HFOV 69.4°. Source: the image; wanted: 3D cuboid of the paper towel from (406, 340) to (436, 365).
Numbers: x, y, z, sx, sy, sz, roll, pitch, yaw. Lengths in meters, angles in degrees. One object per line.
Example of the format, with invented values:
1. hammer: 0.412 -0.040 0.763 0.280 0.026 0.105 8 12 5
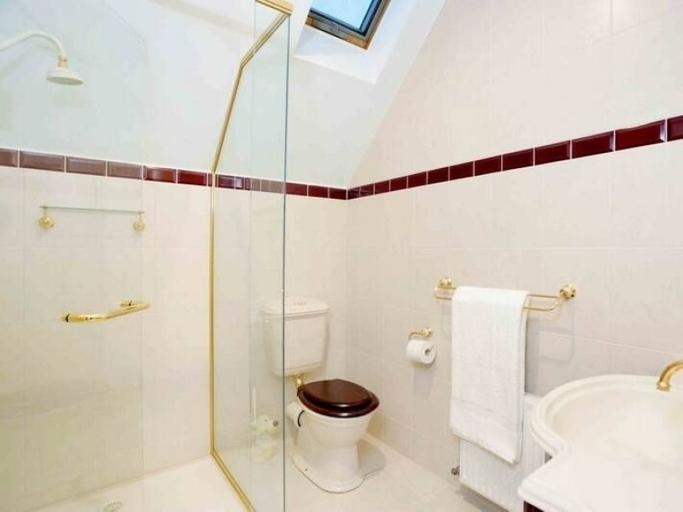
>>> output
1. paper towel: 0.436 0.526 2.760 0.123 0.156 0.163 -3 1 -31

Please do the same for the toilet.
1. toilet: -0.123 0.785 2.935 0.414 0.979 0.783 -5 8 -39
